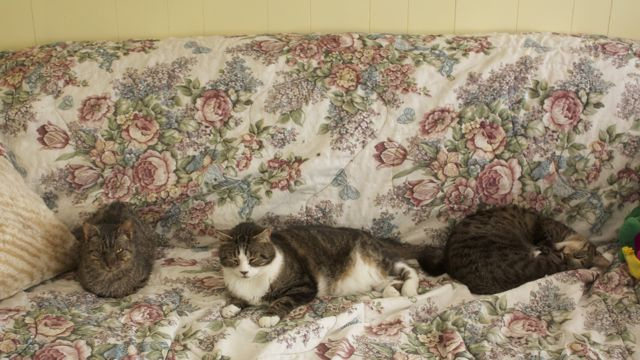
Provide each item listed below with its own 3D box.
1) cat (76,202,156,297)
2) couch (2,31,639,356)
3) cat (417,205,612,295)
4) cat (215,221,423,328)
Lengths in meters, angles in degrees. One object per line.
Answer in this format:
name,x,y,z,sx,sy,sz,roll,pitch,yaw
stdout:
cat,-1.166,0.353,3.228,0.478,0.405,0.583,2,26,-17
couch,0.014,0.134,3.160,3.014,1.263,0.680,0,7,1
cat,1.019,0.375,3.156,0.906,0.310,0.452,4,-2,-22
cat,0.011,0.428,3.073,0.887,0.304,0.556,-7,-3,-28
